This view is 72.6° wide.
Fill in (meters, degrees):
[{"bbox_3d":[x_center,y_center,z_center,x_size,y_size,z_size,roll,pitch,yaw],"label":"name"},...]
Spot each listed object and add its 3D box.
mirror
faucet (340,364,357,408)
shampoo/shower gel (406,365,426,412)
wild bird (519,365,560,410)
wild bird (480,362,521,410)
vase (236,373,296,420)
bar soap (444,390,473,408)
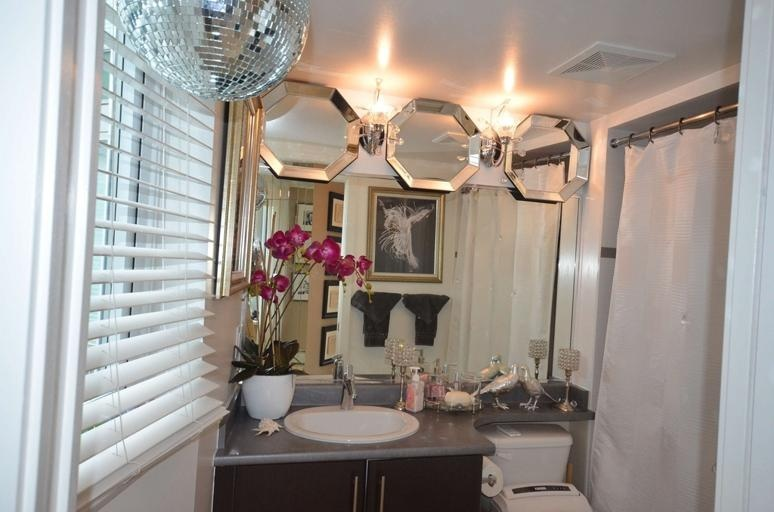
[{"bbox_3d":[0.074,-0.150,2.735,1.603,0.921,0.079,3,5,-16],"label":"mirror"},{"bbox_3d":[-0.191,0.629,2.592,0.060,0.196,0.129,2,3,-5],"label":"faucet"},{"bbox_3d":[0.147,0.662,2.721,0.099,0.215,0.231,3,3,3],"label":"shampoo/shower gel"},{"bbox_3d":[0.838,0.723,2.936,0.307,0.209,0.109,7,-8,-30],"label":"wild bird"},{"bbox_3d":[0.587,0.699,2.868,0.285,0.215,0.112,6,6,-22],"label":"wild bird"},{"bbox_3d":[-0.537,0.610,2.388,0.226,0.168,0.209,-2,-5,14],"label":"vase"},{"bbox_3d":[0.368,0.727,2.683,0.094,0.045,0.092,4,-6,-12],"label":"bar soap"}]
